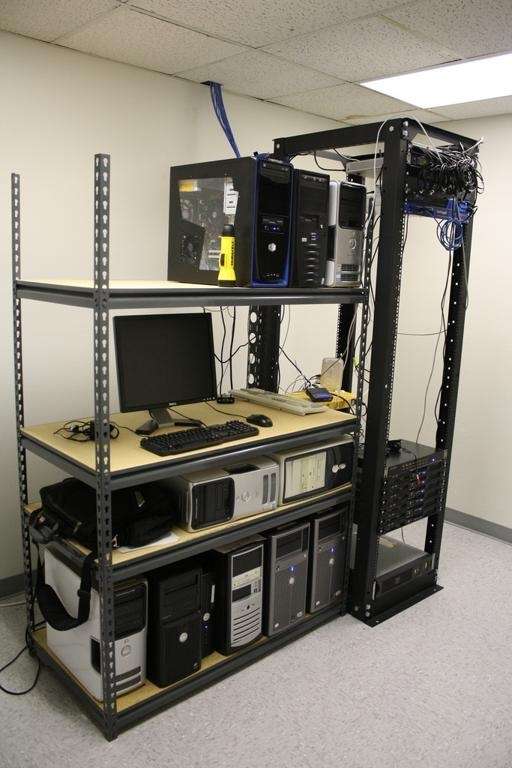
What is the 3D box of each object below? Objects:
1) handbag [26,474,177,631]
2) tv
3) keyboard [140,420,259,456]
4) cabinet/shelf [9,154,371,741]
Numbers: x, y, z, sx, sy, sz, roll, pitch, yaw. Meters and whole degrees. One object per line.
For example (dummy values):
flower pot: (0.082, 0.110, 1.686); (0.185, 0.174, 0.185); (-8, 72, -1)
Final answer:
handbag: (-0.445, 0.469, 1.885); (0.394, 0.414, 0.424); (-13, 22, -40)
tv: (-0.321, -0.040, 2.092); (0.382, 0.395, 0.118); (-7, 6, -39)
keyboard: (-0.190, 0.164, 1.899); (0.206, 0.036, 0.407); (11, 12, 41)
cabinet/shelf: (-0.206, 0.159, 2.063); (1.086, 1.516, 0.557); (-6, 13, -41)
